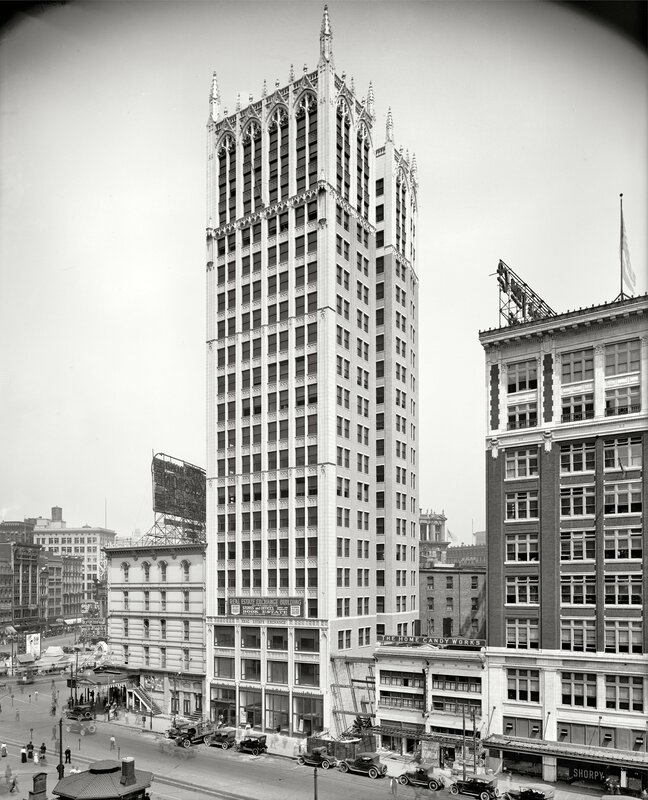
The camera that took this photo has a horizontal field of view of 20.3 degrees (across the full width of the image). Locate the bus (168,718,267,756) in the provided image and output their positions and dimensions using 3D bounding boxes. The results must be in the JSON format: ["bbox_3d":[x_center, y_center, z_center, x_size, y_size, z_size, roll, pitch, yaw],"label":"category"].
[{"bbox_3d":[-9.529,29.976,160.140,10.213,1.812,5.036,-4,2,32],"label":"bus"}]

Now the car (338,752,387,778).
[{"bbox_3d":[3.526,30.471,150.573,2.808,1.743,1.732,-2,-15,26],"label":"car"}]
